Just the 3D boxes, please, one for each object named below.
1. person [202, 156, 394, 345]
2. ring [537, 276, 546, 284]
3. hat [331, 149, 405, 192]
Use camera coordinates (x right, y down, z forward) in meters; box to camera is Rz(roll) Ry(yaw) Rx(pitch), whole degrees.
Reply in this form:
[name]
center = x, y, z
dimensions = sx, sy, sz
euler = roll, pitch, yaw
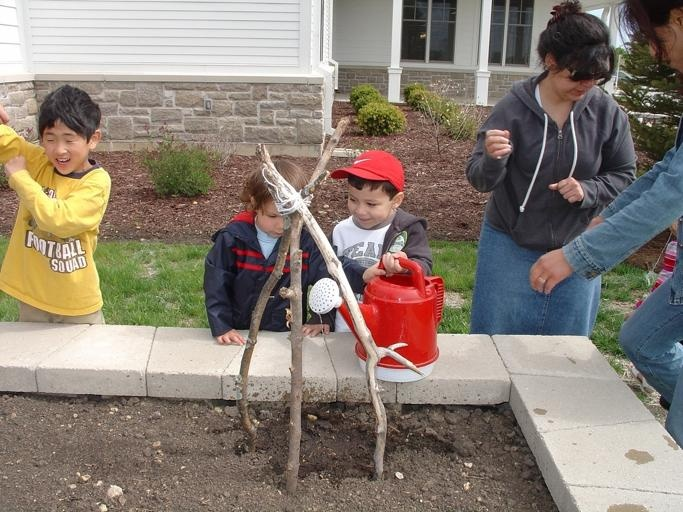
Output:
[person]
center = -0.390, -0.007, 3.206
dimensions = 0.654, 0.911, 0.507
euler = 4, 19, -2
[ring]
center = 0.868, 0.112, 2.621
dimensions = 0.028, 0.040, 0.016
euler = 6, 18, 22
[hat]
center = 0.151, -0.470, 3.216
dimensions = 0.383, 0.192, 0.276
euler = 7, -1, -38
